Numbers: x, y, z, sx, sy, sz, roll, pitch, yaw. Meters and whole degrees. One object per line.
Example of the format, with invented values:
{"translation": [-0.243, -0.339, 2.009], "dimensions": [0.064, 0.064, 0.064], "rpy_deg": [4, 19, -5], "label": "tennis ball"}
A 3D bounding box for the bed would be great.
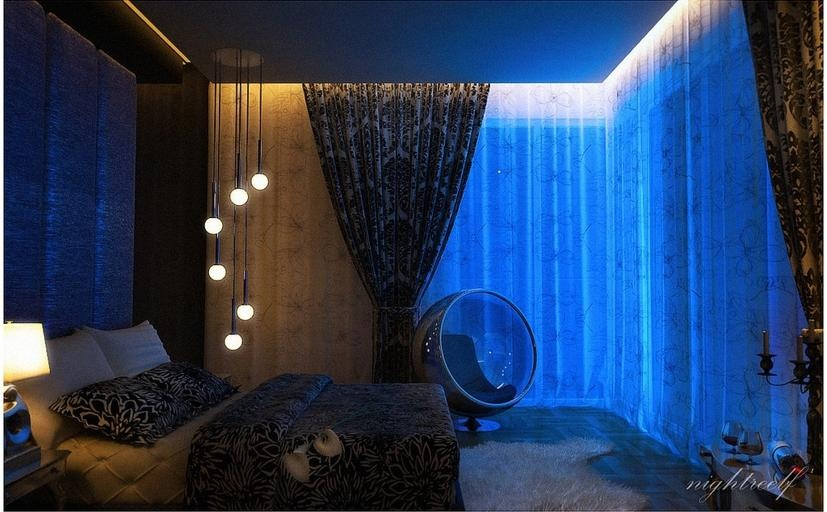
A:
{"translation": [-1.020, 1.216, 4.288], "dimensions": [2.030, 0.726, 1.487], "rpy_deg": [1, -1, -4], "label": "bed"}

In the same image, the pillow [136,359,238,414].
{"translation": [-1.699, 0.997, 4.610], "dimensions": [0.427, 0.123, 0.416], "rpy_deg": [22, -4, 42], "label": "pillow"}

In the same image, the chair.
{"translation": [0.540, 1.078, 5.879], "dimensions": [0.655, 0.739, 0.642], "rpy_deg": [-14, -15, 42], "label": "chair"}
